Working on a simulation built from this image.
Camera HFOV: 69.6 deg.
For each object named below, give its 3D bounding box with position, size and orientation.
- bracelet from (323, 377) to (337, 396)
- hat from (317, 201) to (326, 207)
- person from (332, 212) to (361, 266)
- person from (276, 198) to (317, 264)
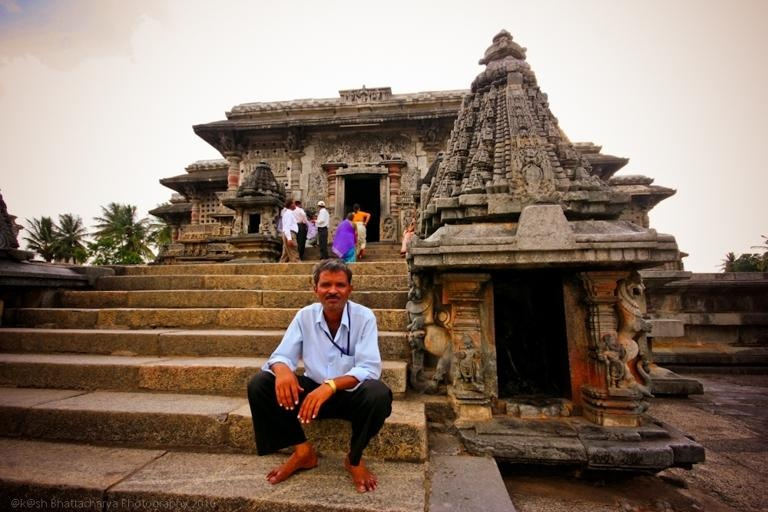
[{"bbox_3d":[-0.583,1.366,5.758,0.153,0.145,0.107,21,18,34],"label":"bracelet"},{"bbox_3d":[-1.372,-1.145,11.865,0.172,0.099,0.215,0,-6,-4],"label":"hat"},{"bbox_3d":[-0.818,-0.408,11.316,0.444,1.124,0.988,4,-5,-5],"label":"person"},{"bbox_3d":[-1.957,-0.527,11.702,0.563,1.325,1.070,4,-5,-8],"label":"person"}]
